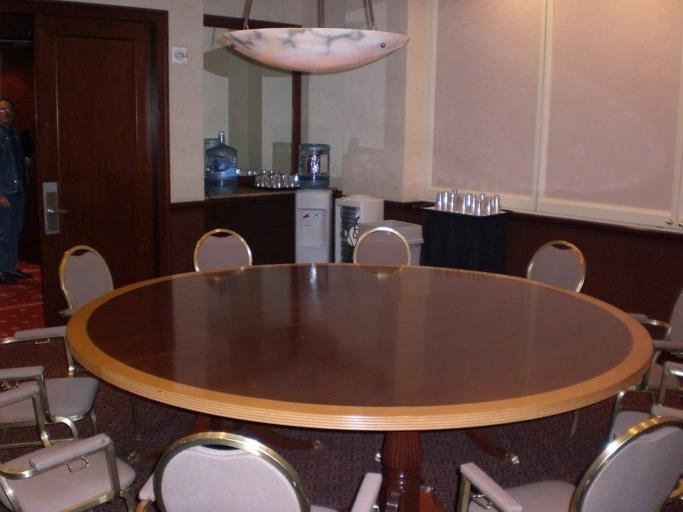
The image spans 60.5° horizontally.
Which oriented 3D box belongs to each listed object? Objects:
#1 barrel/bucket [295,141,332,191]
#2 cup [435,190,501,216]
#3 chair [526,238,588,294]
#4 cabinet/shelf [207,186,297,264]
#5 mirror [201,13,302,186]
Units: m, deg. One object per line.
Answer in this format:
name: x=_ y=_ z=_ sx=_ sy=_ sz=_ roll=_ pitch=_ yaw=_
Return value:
barrel/bucket: x=-0.277 y=-0.961 z=6.292 sx=0.343 sy=0.462 sz=0.352 roll=2 pitch=12 yaw=0
cup: x=1.111 y=-0.459 z=5.121 sx=0.392 sy=0.139 sz=0.281 roll=6 pitch=10 yaw=30
chair: x=1.445 y=0.066 z=3.988 sx=0.332 sy=0.555 sz=0.376 roll=8 pitch=7 yaw=37
cabinet/shelf: x=-0.903 y=-0.339 z=5.776 sx=0.676 sy=0.790 sz=0.237 roll=-9 pitch=18 yaw=-38
mirror: x=-0.935 y=-1.506 z=5.718 sx=0.059 sy=1.333 sz=1.668 roll=9 pitch=21 yaw=43
